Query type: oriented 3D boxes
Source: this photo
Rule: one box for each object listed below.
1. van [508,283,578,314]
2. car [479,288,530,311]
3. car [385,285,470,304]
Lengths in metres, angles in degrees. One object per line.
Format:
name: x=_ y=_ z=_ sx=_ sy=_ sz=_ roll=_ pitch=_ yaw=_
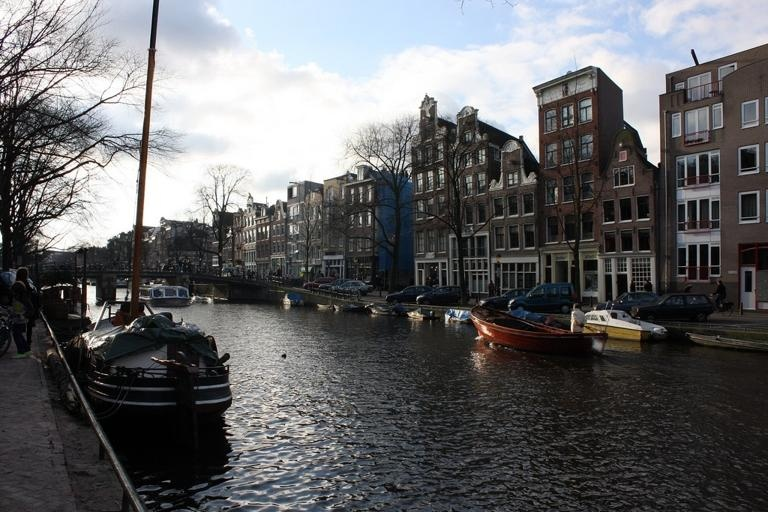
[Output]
van: x=10.253 y=2.691 z=43.713 sx=3.530 sy=1.738 sz=2.003 roll=2 pitch=-4 yaw=3
car: x=7.810 y=2.816 z=44.418 sx=3.537 sy=1.172 sz=1.485 roll=1 pitch=-4 yaw=-4
car: x=3.097 y=3.268 z=51.707 sx=4.514 sy=1.500 sz=2.038 roll=1 pitch=-2 yaw=12
